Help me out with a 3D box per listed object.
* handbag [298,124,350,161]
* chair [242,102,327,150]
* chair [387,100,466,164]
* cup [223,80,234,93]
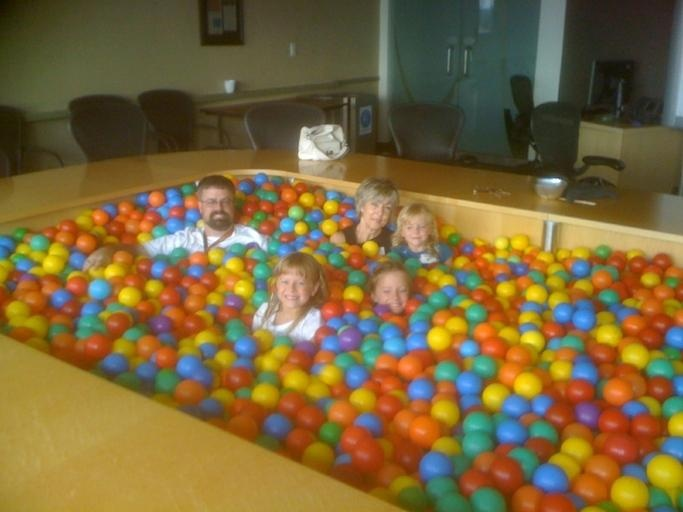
[{"bbox_3d":[-0.129,-0.802,3.632,0.359,0.221,0.245,-2,21,-5],"label":"handbag"},{"bbox_3d":[-0.454,-1.043,4.101,0.433,0.583,0.454,-11,22,-21],"label":"chair"},{"bbox_3d":[0.616,-0.955,3.954,0.451,0.639,0.466,2,32,7],"label":"chair"},{"bbox_3d":[-1.178,-1.815,5.515,0.083,0.135,0.193,11,24,27],"label":"cup"}]
